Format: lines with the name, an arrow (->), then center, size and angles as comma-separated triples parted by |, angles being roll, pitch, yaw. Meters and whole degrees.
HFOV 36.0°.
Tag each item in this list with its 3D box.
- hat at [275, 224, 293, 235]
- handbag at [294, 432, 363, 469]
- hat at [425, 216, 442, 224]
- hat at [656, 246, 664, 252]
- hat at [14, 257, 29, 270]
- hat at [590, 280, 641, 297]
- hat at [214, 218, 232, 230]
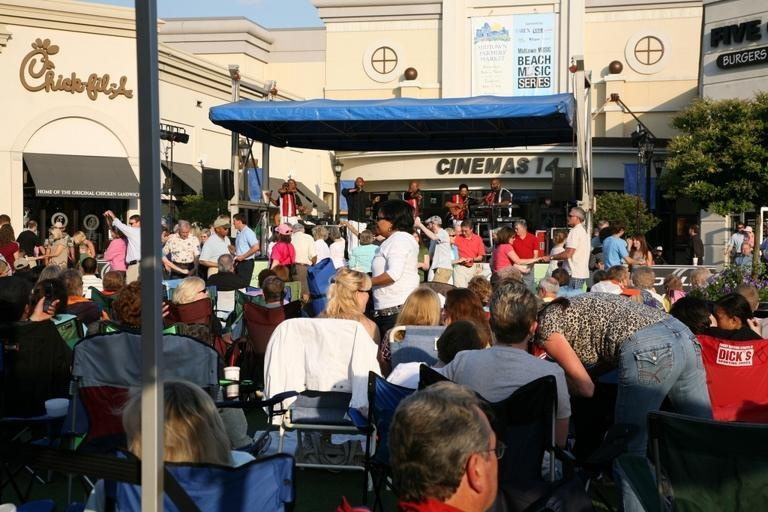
hat -> -2.412, -0.663, 28.673 | 0.280, 0.107, 0.294 | 13, 19, 41
handbag -> -0.981, 3.736, 22.385 | 0.845, 0.390, 0.774 | 2, 10, -1
hat -> 1.160, -0.875, 27.618 | 0.268, 0.161, 0.192 | 5, 2, 17
hat -> 10.172, -0.306, 43.801 | 0.259, 0.190, 0.456 | 1, -1, 4
hat -> -8.907, 0.176, 29.036 | 0.285, 0.272, 0.500 | 1, 6, -10
hat -> 4.757, 0.655, 24.139 | 0.672, 0.364, 0.583 | 4, -1, -3
hat -> -4.069, -0.808, 29.736 | 0.390, 0.268, 0.327 | -10, 9, 10
